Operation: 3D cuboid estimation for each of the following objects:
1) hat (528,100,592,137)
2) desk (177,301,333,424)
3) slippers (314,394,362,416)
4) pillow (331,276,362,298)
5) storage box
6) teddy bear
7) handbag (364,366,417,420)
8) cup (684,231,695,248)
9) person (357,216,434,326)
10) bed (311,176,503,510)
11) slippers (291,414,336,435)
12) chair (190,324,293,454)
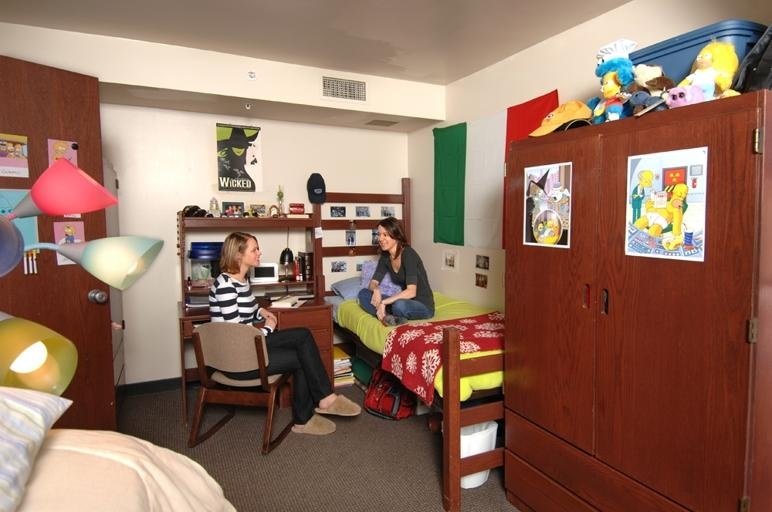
[{"bbox_3d":[1.054,-0.826,3.132,0.357,0.148,0.236,-20,14,8],"label":"hat"},{"bbox_3d":[-1.163,0.843,4.694,1.250,0.916,0.733,-2,8,-18],"label":"desk"},{"bbox_3d":[-0.372,1.166,4.175,0.298,0.127,0.175,-3,-3,21],"label":"slippers"},{"bbox_3d":[-0.361,0.304,5.036,0.222,0.074,0.235,-20,25,-23],"label":"pillow"},{"bbox_3d":[1.644,-1.004,2.815,0.344,0.199,0.486,-2,0,-33],"label":"storage box"},{"bbox_3d":[1.513,-0.918,2.783,0.581,0.320,0.438,-8,10,-11],"label":"teddy bear"},{"bbox_3d":[-0.015,1.147,4.334,0.297,0.420,0.432,11,-19,14],"label":"handbag"},{"bbox_3d":[1.429,-0.085,2.473,0.055,0.083,0.056,-2,12,1],"label":"cup"},{"bbox_3d":[0.112,0.132,4.552,0.583,0.917,0.724,-5,3,-21],"label":"person"},{"bbox_3d":[-0.049,0.785,4.302,1.035,1.918,2.694,-3,4,-16],"label":"bed"},{"bbox_3d":[-0.552,1.304,4.042,0.231,0.089,0.139,-1,0,-2],"label":"slippers"},{"bbox_3d":[-1.039,0.851,3.726,0.687,0.910,0.724,2,-24,-16],"label":"chair"}]
